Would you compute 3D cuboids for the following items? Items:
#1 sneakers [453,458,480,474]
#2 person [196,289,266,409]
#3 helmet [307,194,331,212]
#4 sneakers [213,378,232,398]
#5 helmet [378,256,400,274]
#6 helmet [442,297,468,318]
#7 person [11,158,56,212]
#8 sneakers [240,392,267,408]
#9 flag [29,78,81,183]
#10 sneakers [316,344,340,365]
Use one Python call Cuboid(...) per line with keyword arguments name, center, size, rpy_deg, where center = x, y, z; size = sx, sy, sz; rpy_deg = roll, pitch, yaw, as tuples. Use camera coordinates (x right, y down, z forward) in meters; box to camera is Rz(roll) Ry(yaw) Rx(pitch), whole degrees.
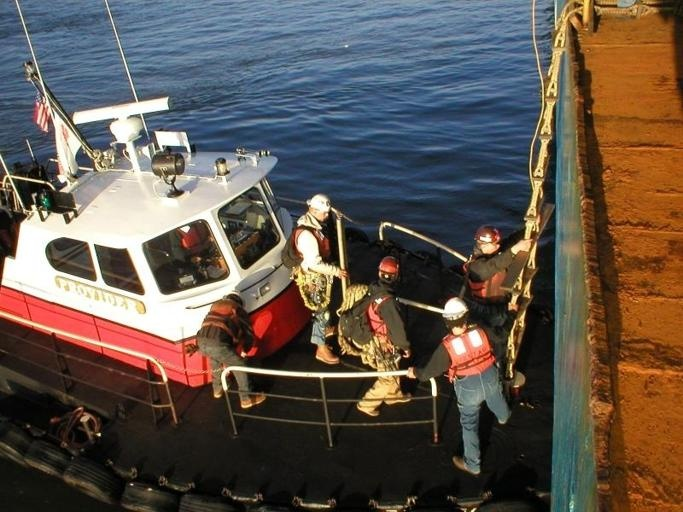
Cuboid(name="sneakers", center=(1.612, 2.688, 9.605), size=(0.230, 0.202, 0.103), rpy_deg=(32, 72, 24))
Cuboid(name="person", center=(-1.426, 1.357, 10.466), size=(0.733, 1.599, 0.834), rpy_deg=(16, 46, 26))
Cuboid(name="helmet", center=(-0.313, -0.758, 10.641), size=(0.286, 0.269, 0.314), rpy_deg=(-13, 36, -7))
Cuboid(name="sneakers", center=(-1.697, 1.873, 10.643), size=(0.163, 0.345, 0.268), rpy_deg=(13, 26, -4))
Cuboid(name="helmet", center=(0.649, 0.123, 10.044), size=(0.245, 0.178, 0.272), rpy_deg=(14, -4, 26))
Cuboid(name="helmet", center=(1.404, 0.641, 9.295), size=(0.274, 0.200, 0.295), rpy_deg=(-13, -2, 14))
Cuboid(name="person", center=(-4.490, -1.036, 10.942), size=(0.498, 0.651, 0.690), rpy_deg=(-20, 38, -14))
Cuboid(name="sneakers", center=(-1.254, 2.052, 10.661), size=(0.405, 0.133, 0.173), rpy_deg=(-16, 36, -29))
Cuboid(name="flag", center=(-4.365, -1.938, 11.470), size=(0.469, 1.732, 1.027), rpy_deg=(-23, 41, -14))
Cuboid(name="sneakers", center=(-0.222, 1.457, 11.244), size=(0.527, 0.233, 0.200), rpy_deg=(8, 30, 13))
